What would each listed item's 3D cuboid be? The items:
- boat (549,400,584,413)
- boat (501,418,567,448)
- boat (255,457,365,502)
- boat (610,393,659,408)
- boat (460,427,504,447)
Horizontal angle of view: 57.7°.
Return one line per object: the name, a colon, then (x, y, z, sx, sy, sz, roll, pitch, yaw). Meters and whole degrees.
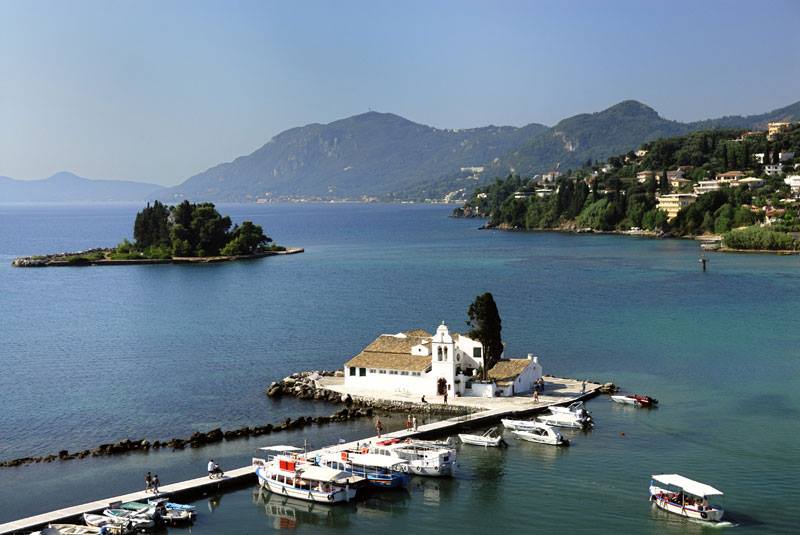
boat: (15.663, 13.330, 68.534, 3.296, 1.189, 1.298, -1, -4, 13)
boat: (11.870, 14.691, 64.279, 5.401, 1.581, 1.820, 6, -2, 36)
boat: (-7.286, 16.669, 56.422, 6.196, 2.376, 3.578, 4, 3, 27)
boat: (23.071, 13.198, 71.308, 4.279, 0.825, 1.913, 1, 6, 16)
boat: (7.275, 15.054, 63.983, 3.736, 1.553, 1.459, -3, -1, 24)
